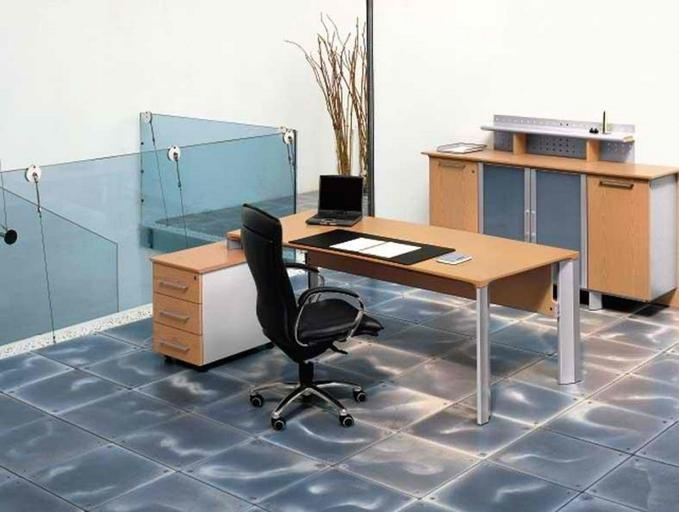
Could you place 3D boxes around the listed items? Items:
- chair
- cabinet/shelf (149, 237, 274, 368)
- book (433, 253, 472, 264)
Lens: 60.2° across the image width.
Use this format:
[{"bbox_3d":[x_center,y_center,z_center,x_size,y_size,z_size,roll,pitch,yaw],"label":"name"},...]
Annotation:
[{"bbox_3d":[-0.183,0.375,3.729,0.937,1.233,0.769,1,8,-18],"label":"chair"},{"bbox_3d":[-0.944,0.401,4.673,0.576,0.739,0.977,11,10,35],"label":"cabinet/shelf"},{"bbox_3d":[0.724,0.016,3.709,0.180,0.035,0.244,11,16,43],"label":"book"}]
